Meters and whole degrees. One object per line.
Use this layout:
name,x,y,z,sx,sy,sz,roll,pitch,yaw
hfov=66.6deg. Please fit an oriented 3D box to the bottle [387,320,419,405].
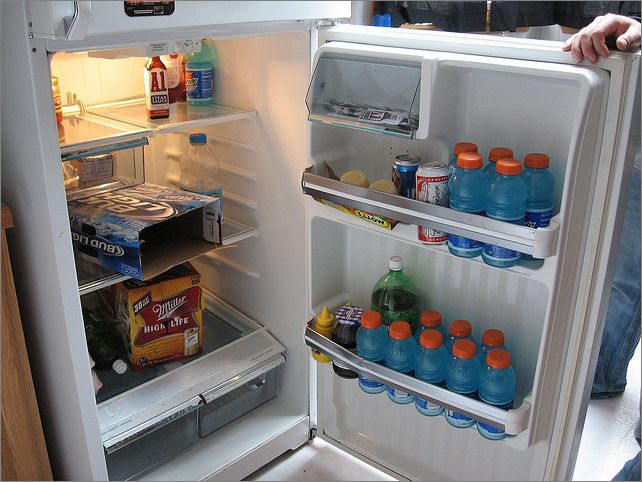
bottle,0.236,0.370,1.428,0.094,0.262,0.100,-3,20,1

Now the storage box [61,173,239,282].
storage box,-0.592,-0.042,1.536,0.446,0.159,0.323,19,26,36

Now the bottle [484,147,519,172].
bottle,0.448,-0.210,1.221,0.071,0.066,0.071,3,35,5

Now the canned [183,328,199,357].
canned,-0.482,0.365,1.787,0.060,0.098,0.057,-15,42,-26

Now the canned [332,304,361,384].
canned,0.099,0.347,1.577,0.112,0.192,0.113,1,6,7

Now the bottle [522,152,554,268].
bottle,0.527,-0.122,1.174,0.075,0.163,0.089,6,21,22

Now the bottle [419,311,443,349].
bottle,0.301,0.254,1.448,0.081,0.087,0.083,-6,25,-10

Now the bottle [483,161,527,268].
bottle,0.454,-0.068,1.180,0.109,0.251,0.105,-3,20,1

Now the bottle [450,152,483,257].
bottle,0.371,-0.086,1.225,0.088,0.254,0.122,0,20,8

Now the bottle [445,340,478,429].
bottle,0.389,0.409,1.338,0.088,0.269,0.119,3,21,17
